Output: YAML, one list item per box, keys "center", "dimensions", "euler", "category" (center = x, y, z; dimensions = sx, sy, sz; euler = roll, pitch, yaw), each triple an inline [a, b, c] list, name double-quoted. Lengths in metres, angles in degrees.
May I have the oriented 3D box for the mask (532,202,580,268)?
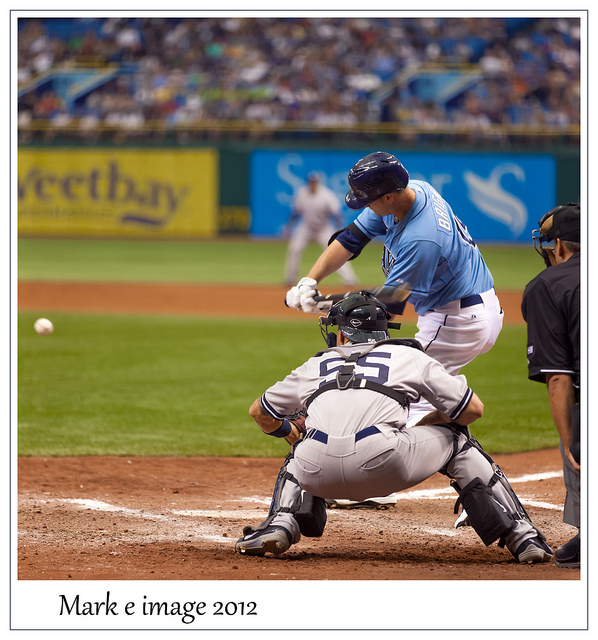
- center: [2.143, -0.703, 11.467]
  dimensions: [0.258, 0.536, 0.514]
  euler: [-1, 2, -30]
  category: "mask"

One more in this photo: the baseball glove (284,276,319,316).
- center: [0.024, -0.160, 12.038]
  dimensions: [0.355, 0.155, 0.365]
  euler: [-19, -40, -7]
  category: "baseball glove"

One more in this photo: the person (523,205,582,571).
- center: [2.142, 0.551, 11.355]
  dimensions: [0.485, 3.008, 0.476]
  euler: [1, 2, 26]
  category: "person"

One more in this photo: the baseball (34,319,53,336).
- center: [-2.644, 0.086, 14.054]
  dimensions: [0.138, 0.146, 0.131]
  euler: [28, -50, -31]
  category: "baseball"
